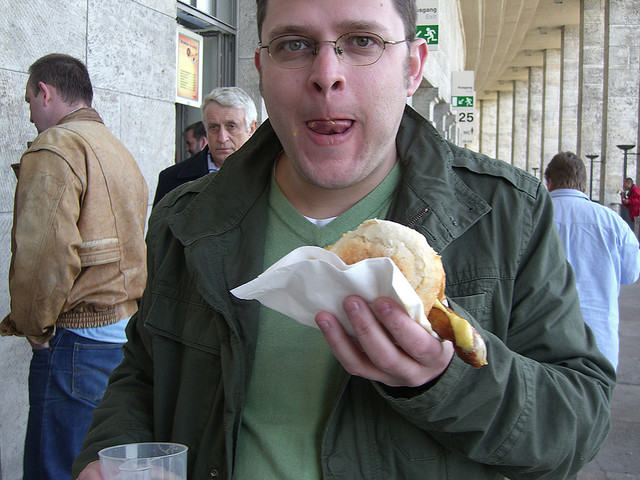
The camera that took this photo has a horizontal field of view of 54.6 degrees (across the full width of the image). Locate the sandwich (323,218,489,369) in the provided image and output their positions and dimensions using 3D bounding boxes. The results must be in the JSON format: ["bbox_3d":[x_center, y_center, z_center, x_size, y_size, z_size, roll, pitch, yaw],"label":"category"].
[{"bbox_3d":[0.281,0.158,2.072,0.542,0.429,0.175,4,7,20],"label":"sandwich"}]
